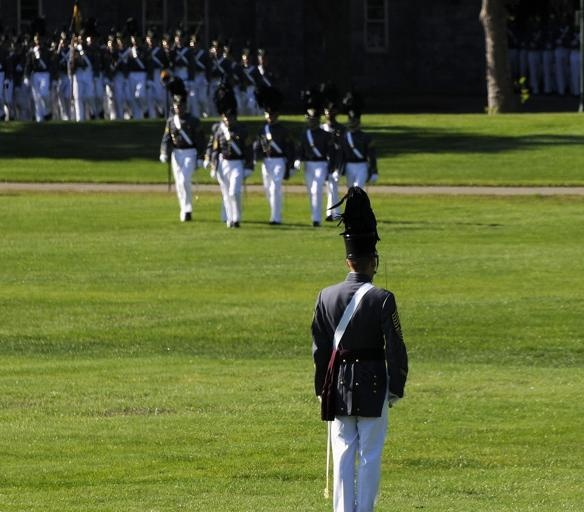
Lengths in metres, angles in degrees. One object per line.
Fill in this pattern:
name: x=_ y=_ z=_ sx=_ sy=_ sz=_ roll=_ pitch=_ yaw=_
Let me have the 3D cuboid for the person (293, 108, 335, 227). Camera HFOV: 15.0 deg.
person: x=0.417 y=-1.652 z=41.679 sx=0.672 sy=2.290 sz=0.685 roll=6 pitch=16 yaw=26

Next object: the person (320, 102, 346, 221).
person: x=0.704 y=-1.911 z=42.554 sx=0.462 sy=2.238 sz=0.600 roll=-3 pitch=32 yaw=-13

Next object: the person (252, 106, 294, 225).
person: x=-0.342 y=-1.704 z=41.497 sx=0.794 sy=2.359 sz=0.718 roll=2 pitch=6 yaw=15

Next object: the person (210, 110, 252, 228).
person: x=-1.166 y=-1.685 z=41.383 sx=0.699 sy=2.193 sz=0.685 roll=5 pitch=21 yaw=-8

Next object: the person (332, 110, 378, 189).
person: x=1.197 y=-1.682 z=41.766 sx=0.809 sy=2.157 sz=0.834 roll=-1 pitch=2 yaw=32

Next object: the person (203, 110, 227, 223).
person: x=-1.302 y=-1.781 z=41.459 sx=0.616 sy=2.268 sz=0.313 roll=-5 pitch=-12 yaw=11

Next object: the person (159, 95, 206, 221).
person: x=-2.073 y=-1.868 z=41.801 sx=0.744 sy=2.481 sz=0.685 roll=2 pitch=5 yaw=21
